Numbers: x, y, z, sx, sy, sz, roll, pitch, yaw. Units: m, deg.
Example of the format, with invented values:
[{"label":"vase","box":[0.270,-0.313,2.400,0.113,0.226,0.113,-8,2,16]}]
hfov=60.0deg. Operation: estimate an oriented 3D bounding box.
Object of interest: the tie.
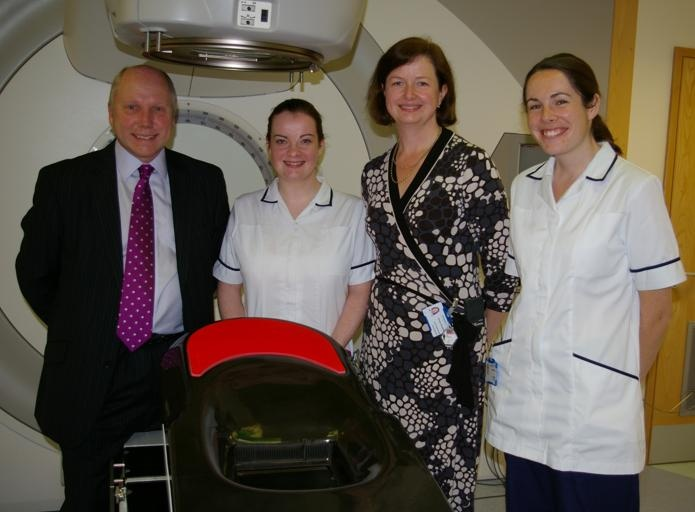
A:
[{"label":"tie","box":[-0.806,-0.004,2.294,0.131,0.686,0.224,-1,9,-18]}]

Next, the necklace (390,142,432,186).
[{"label":"necklace","box":[0.234,-0.359,2.314,0.038,0.162,0.160,18,2,-20]}]
